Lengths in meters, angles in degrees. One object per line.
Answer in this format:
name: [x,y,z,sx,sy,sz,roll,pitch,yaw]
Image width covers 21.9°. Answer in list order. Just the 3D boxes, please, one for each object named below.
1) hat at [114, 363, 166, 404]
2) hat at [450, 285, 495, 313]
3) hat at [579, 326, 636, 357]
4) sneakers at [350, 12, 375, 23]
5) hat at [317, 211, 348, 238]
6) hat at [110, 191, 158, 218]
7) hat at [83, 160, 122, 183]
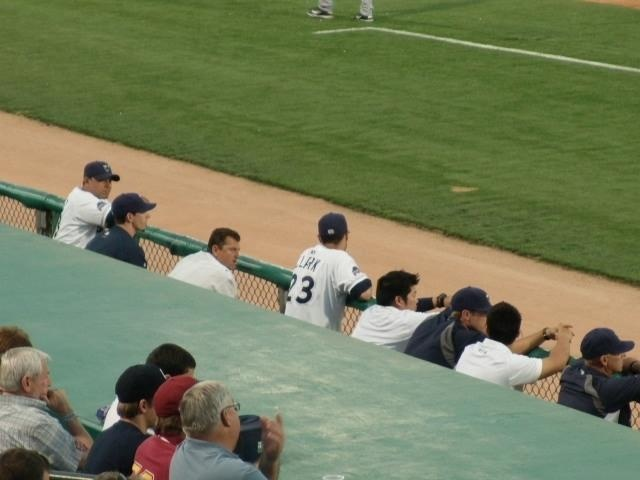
hat: [-1.854,1.468,16.757,0.496,0.242,0.338,-27,23,-27]
hat: [1.664,0.658,18.193,0.398,0.206,0.252,-4,14,-5]
hat: [3.139,1.123,17.904,0.519,0.234,0.299,-12,11,5]
sneakers: [0.838,-4.315,32.104,0.446,0.161,0.153,11,12,41]
hat: [0.202,-0.203,18.976,0.396,0.260,0.585,-2,16,7]
hat: [-2.182,-0.404,19.309,0.472,0.238,0.281,-9,23,-13]
hat: [-2.675,-0.837,20.149,0.438,0.217,0.284,-2,5,3]
